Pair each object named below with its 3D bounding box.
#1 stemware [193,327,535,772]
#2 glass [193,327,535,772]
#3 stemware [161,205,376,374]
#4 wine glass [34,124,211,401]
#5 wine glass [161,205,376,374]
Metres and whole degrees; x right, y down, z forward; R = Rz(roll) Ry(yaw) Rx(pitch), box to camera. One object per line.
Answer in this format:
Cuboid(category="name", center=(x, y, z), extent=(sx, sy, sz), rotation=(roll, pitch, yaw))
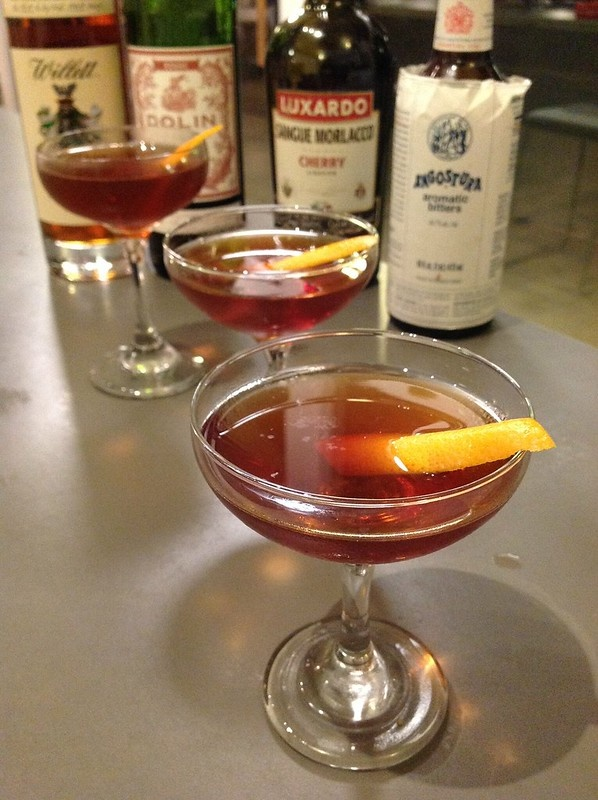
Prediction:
Cuboid(category="stemware", center=(0.044, 0.106, 0.488), extent=(0.233, 0.231, 0.222), rotation=(7, 24, 14))
Cuboid(category="glass", center=(0.045, 0.106, 0.488), extent=(0.228, 0.227, 0.220), rotation=(6, 24, 8))
Cuboid(category="stemware", center=(-0.028, -0.066, 0.707), extent=(0.178, 0.163, 0.157), rotation=(-5, 16, -12))
Cuboid(category="wine glass", center=(-0.180, -0.149, 0.838), extent=(0.188, 0.253, 0.167), rotation=(-7, 23, -14))
Cuboid(category="wine glass", center=(-0.024, -0.072, 0.739), extent=(0.206, 0.201, 0.194), rotation=(-1, 40, -3))
